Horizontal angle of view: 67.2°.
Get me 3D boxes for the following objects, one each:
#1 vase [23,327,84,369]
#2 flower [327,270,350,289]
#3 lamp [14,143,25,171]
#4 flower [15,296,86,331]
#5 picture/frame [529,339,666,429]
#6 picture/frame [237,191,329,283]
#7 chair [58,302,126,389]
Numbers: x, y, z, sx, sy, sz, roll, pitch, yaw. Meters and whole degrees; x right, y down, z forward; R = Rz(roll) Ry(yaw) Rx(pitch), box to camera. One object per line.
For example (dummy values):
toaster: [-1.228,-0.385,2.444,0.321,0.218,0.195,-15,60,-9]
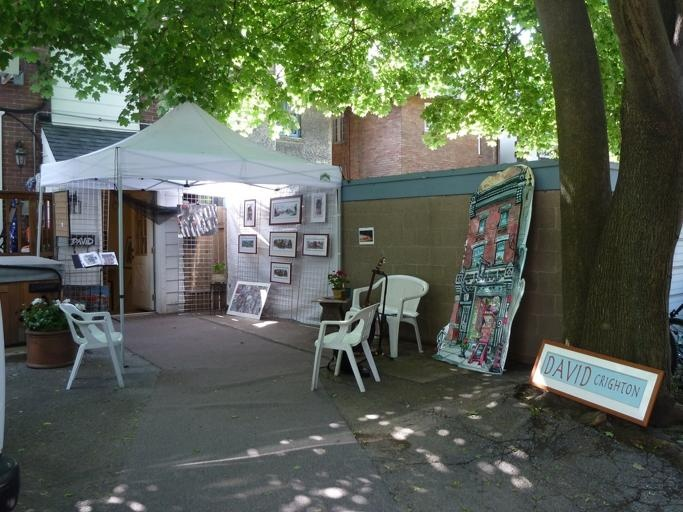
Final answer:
vase: [-4.152,1.296,7.333,0.637,0.492,0.640,0,0,-7]
flower: [-0.068,0.423,9.408,0.331,0.322,0.333,0,-1,25]
lamp: [-6.972,-2.215,11.242,0.241,0.595,0.336,-6,10,-32]
flower: [-4.198,0.847,7.394,0.717,0.406,0.717,1,3,-18]
picture/frame: [2.605,1.287,5.407,0.356,0.515,1.316,-5,9,-30]
picture/frame: [-1.357,-0.366,11.082,0.727,2.006,3.404,-7,10,-37]
chair: [-3.330,1.079,6.931,0.691,1.012,1.726,-4,9,-26]
